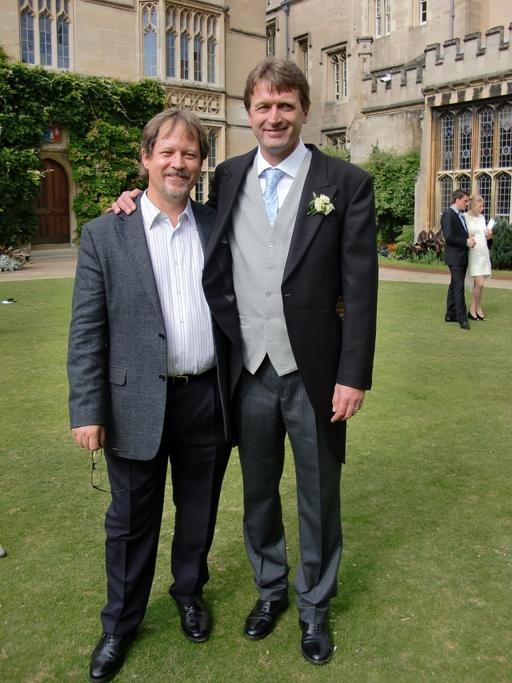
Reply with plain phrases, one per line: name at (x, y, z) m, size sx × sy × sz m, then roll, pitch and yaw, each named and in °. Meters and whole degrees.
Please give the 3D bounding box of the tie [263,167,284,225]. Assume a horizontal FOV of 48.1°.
tie at (0.058, -0.498, 1.974) m, size 0.062 × 0.204 × 0.021 m, roll 2°, pitch -14°, yaw 3°

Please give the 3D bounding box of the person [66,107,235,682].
person at (-0.341, 0.148, 1.976) m, size 0.593 × 1.887 × 0.464 m, roll -3°, pitch 9°, yaw -26°

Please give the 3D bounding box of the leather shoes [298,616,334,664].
leather shoes at (0.213, 1.031, 2.030) m, size 0.120 × 0.081 × 0.287 m, roll 2°, pitch 8°, yaw 5°

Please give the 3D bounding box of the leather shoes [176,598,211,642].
leather shoes at (-0.221, 1.011, 2.089) m, size 0.062 × 0.070 × 0.172 m, roll -1°, pitch 0°, yaw -20°

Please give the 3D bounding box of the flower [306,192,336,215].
flower at (0.212, -0.452, 1.881) m, size 0.086 × 0.075 × 0.082 m, roll 2°, pitch 8°, yaw 6°

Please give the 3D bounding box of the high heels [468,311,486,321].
high heels at (3.581, -0.417, 9.354) m, size 0.093 × 0.115 × 0.280 m, roll -10°, pitch 8°, yaw -40°

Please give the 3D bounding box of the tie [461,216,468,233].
tie at (3.373, -1.913, 9.305) m, size 0.043 × 0.215 × 0.210 m, roll -10°, pitch 3°, yaw 3°

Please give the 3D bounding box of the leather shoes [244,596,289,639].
leather shoes at (0.031, 1.029, 2.143) m, size 0.063 × 0.081 × 0.189 m, roll 1°, pitch -2°, yaw 22°

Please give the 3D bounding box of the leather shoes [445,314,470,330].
leather shoes at (3.111, -0.308, 8.922) m, size 0.157 × 0.224 × 0.516 m, roll -7°, pitch 12°, yaw -29°
